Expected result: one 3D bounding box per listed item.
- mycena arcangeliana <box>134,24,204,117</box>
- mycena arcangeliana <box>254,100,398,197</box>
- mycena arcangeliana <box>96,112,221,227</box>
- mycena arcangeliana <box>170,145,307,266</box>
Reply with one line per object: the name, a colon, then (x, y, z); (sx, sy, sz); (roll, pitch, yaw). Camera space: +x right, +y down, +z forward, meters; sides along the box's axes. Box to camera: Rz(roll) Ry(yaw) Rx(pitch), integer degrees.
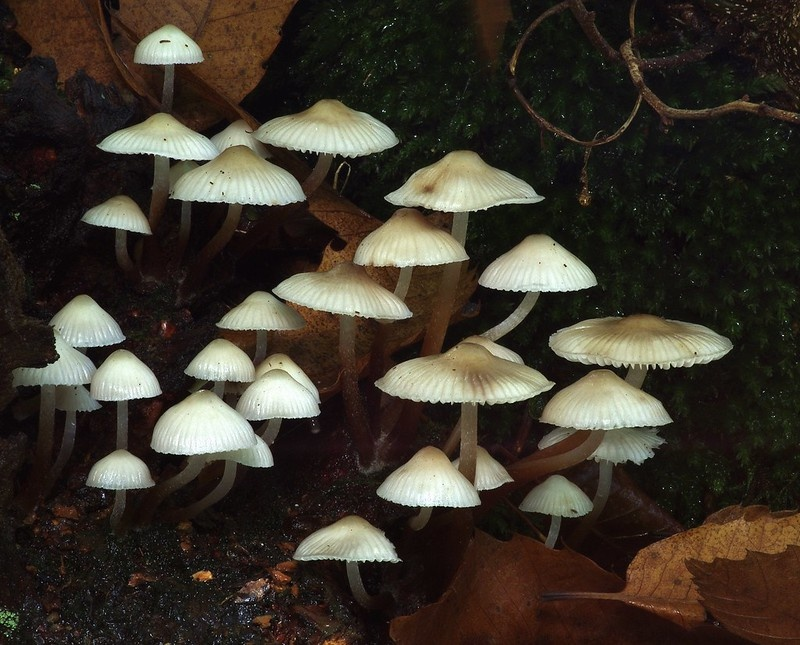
mycena arcangeliana: (-1.170, -1.283, 4.650); (0.370, 0.457, 0.352); (-18, 32, -39)
mycena arcangeliana: (-0.346, -0.871, 4.459); (0.443, 0.450, 0.329); (1, 104, -13)
mycena arcangeliana: (-1.139, -0.735, 4.386); (0.475, 0.509, 0.462); (4, 17, -5)
mycena arcangeliana: (-0.772, -0.598, 4.468); (0.470, 0.473, 0.417); (1, 99, -1)
